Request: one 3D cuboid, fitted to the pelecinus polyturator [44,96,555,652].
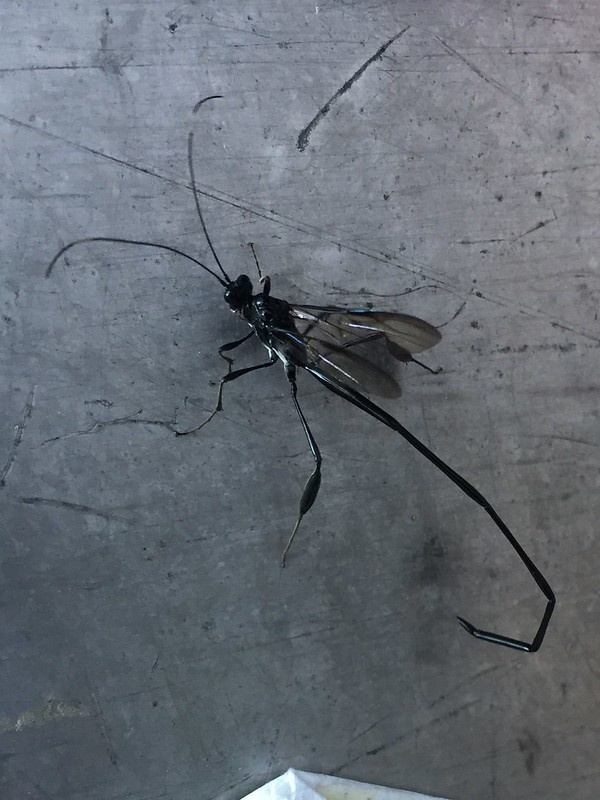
[{"bbox_3d":[0.372,-0.066,7.070,4.235,1.184,1.906,34,78,0],"label":"pelecinus polyturator"}]
